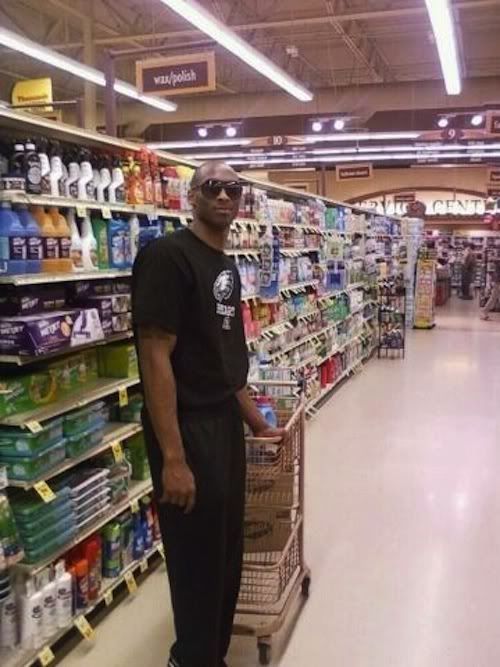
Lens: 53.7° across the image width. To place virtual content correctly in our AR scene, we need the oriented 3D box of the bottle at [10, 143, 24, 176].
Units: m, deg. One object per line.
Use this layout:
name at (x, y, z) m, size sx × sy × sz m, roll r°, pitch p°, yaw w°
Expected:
bottle at (-0.836, -0.620, 1.780) m, size 0.053 × 0.144 × 0.145 m, roll -2°, pitch 4°, yaw -25°

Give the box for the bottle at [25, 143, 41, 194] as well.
bottle at (-0.803, -0.607, 1.839) m, size 0.059 × 0.200 × 0.149 m, roll -1°, pitch 4°, yaw -21°

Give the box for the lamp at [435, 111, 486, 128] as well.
lamp at (4.956, -5.015, 11.685) m, size 0.727 × 0.187 × 0.696 m, roll 3°, pitch 14°, yaw 16°

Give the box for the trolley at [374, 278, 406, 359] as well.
trolley at (2.985, -0.240, 10.299) m, size 0.566 × 1.537 × 0.516 m, roll 2°, pitch -3°, yaw 16°
